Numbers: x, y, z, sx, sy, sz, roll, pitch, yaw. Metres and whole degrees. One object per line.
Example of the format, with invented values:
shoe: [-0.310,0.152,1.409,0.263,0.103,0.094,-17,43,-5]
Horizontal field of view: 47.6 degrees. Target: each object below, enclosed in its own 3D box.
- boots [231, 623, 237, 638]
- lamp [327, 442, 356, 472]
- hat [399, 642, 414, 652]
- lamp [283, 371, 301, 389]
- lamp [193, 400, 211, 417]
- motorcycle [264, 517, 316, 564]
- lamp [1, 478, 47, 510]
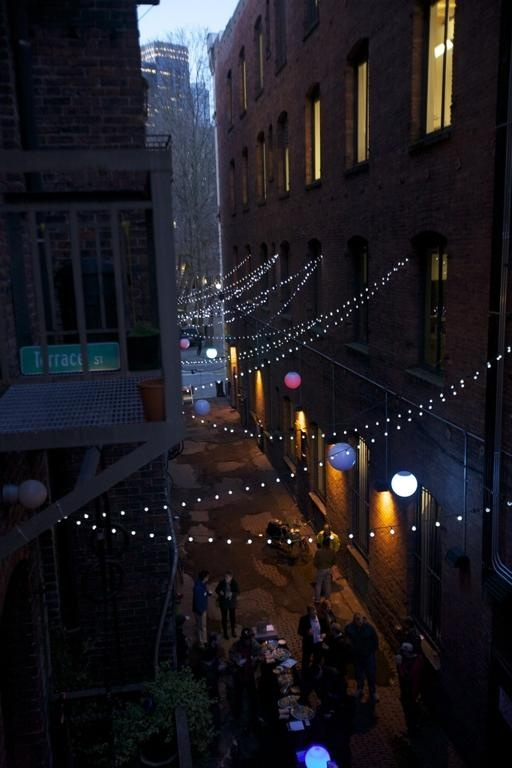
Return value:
boots: [-0.326,3.678,8.695,0.067,0.224,0.187,-1,5,-7]
lamp: [1.165,1.014,7.937,0.314,0.398,0.330,-2,7,2]
hat: [1.735,3.017,6.665,0.109,0.069,0.188,-2,6,-7]
lamp: [0.807,-0.037,12.394,0.273,0.465,0.323,-3,11,-19]
lamp: [-1.690,0.782,18.341,0.441,0.680,0.468,15,25,36]
motorcycle: [0.630,3.032,11.485,0.514,0.466,0.866,2,2,-35]
lamp: [-1.138,0.566,2.891,0.242,0.160,0.123,-4,4,34]
